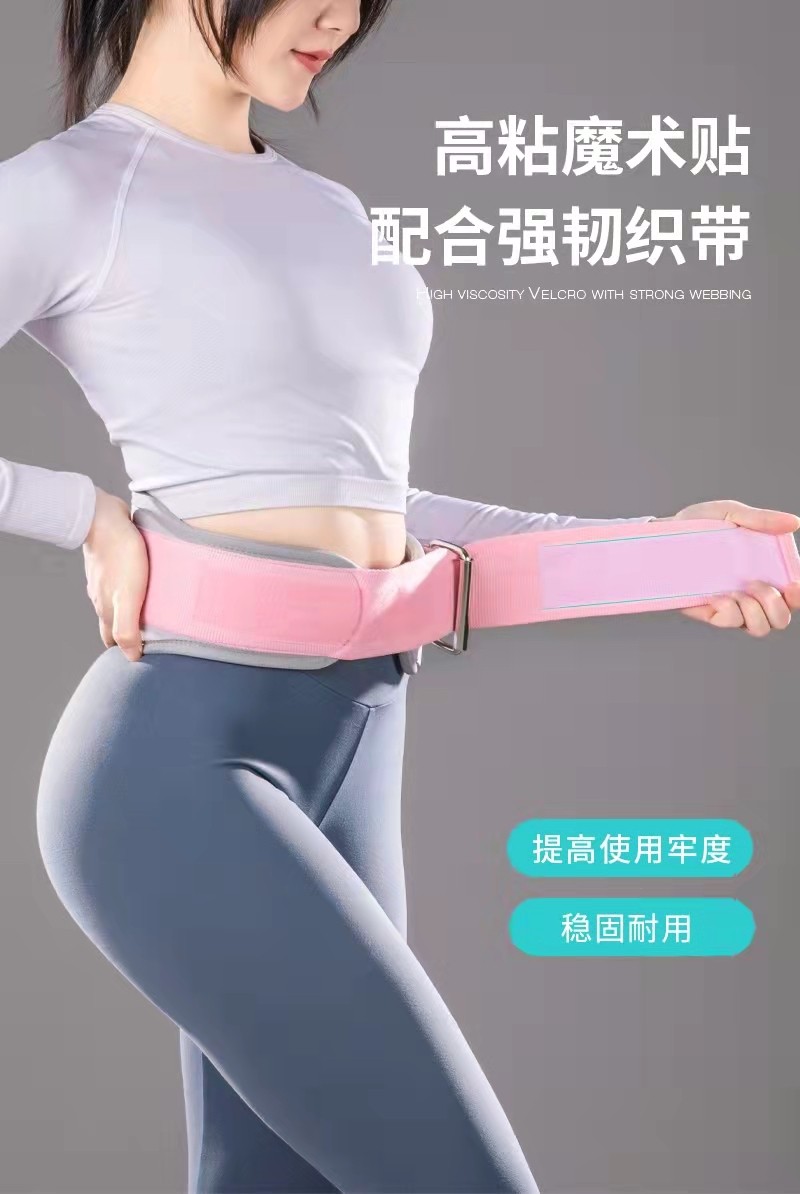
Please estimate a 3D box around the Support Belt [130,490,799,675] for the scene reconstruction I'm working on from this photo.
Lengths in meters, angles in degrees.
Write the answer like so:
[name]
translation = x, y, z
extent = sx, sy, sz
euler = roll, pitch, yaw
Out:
[Support Belt]
translation = 0.044, -0.006, 1.028
extent = 0.426, 0.241, 0.106
euler = -4, 89, -2
